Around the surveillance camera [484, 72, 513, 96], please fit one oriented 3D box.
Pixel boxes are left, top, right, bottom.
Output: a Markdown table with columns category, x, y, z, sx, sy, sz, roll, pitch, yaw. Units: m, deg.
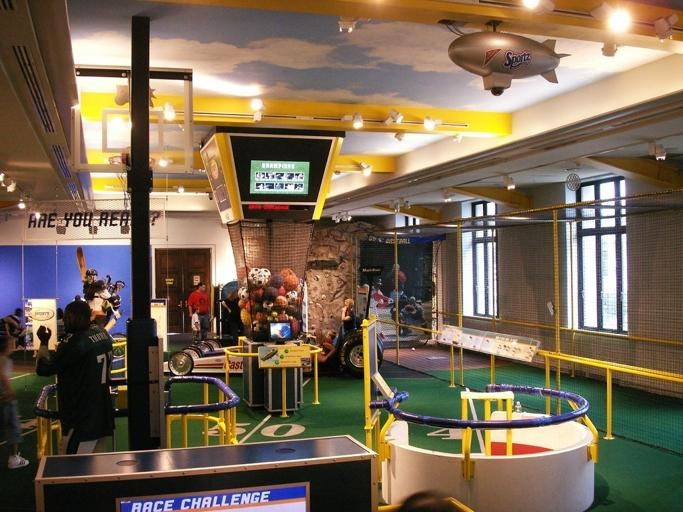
| category | x | y | z | sx | sy | sz | roll | pitch | yaw |
| --- | --- | --- | --- | --- | --- | --- | --- | --- | --- |
| surveillance camera | 1.120 | -1.264 | 3.448 | 0.178 | 0.119 | 0.163 | 1 | -5 | -11 |
